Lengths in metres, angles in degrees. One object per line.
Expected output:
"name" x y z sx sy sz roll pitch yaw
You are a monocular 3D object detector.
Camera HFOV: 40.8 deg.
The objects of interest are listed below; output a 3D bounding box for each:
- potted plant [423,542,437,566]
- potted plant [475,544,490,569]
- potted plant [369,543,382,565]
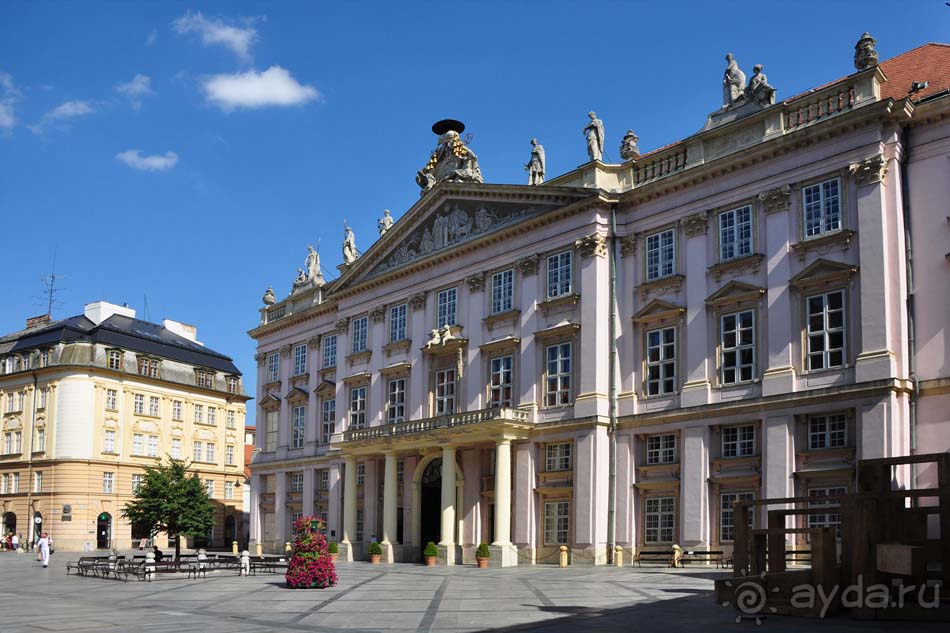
"potted plant" -2.578 13.556 72.459 0.707 1.373 0.855 -5 -17 6
"potted plant" 0.453 13.191 69.887 0.784 1.405 1.005 -4 -17 1
"potted plant" -5.960 14.201 76.312 0.639 1.229 0.833 -2 -17 -4
